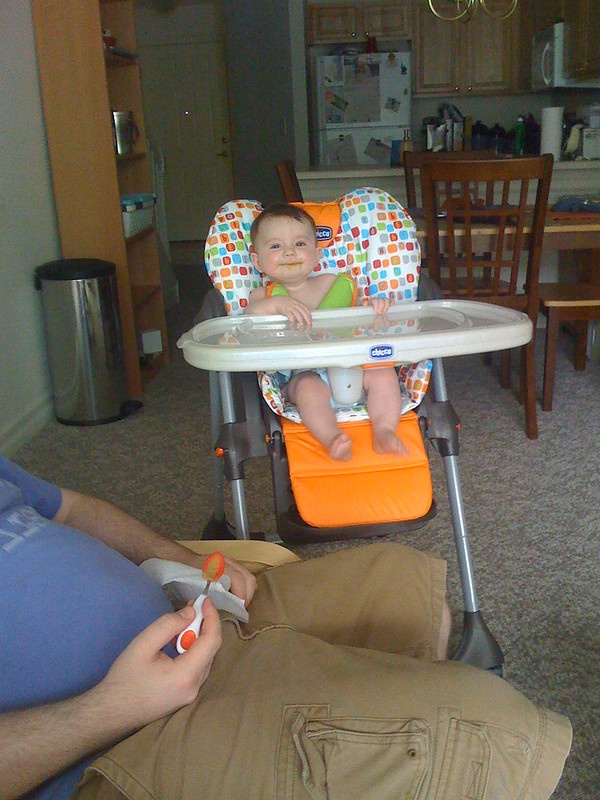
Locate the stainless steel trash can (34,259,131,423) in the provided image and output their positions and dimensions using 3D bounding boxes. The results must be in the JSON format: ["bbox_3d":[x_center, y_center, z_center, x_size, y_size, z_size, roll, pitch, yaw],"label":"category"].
[{"bbox_3d":[-0.899,-0.227,2.792,0.371,0.676,0.165,-13,26,-13],"label":"stainless steel trash can"}]

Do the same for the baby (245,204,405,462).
[{"bbox_3d":[0.031,-0.156,1.436,0.260,0.613,0.204,-14,-18,-1],"label":"baby"}]

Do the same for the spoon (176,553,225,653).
[{"bbox_3d":[-0.109,0.220,0.728,0.024,0.008,0.098,11,31,0],"label":"spoon"}]

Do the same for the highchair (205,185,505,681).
[{"bbox_3d":[0.121,0.058,1.351,0.589,0.752,0.732,3,29,25],"label":"highchair"}]
